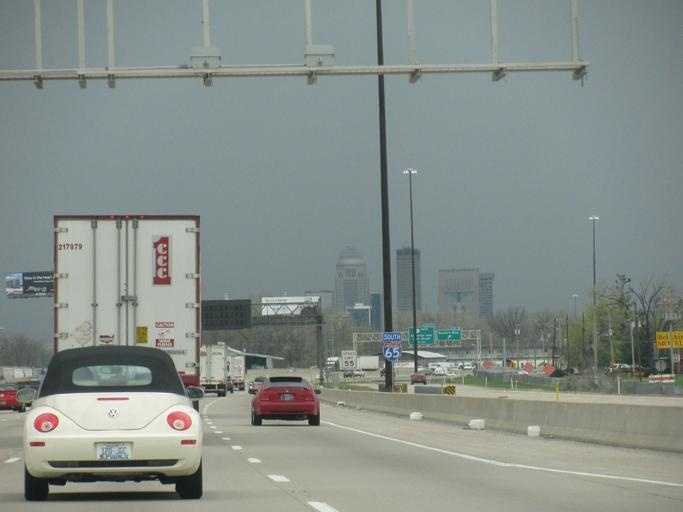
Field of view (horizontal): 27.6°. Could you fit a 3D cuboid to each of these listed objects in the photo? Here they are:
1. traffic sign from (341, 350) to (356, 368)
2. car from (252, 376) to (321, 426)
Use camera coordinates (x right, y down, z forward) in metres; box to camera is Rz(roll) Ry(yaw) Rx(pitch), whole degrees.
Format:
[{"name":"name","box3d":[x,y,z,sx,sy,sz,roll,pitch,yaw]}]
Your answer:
[{"name":"traffic sign","box3d":[0.444,6.778,85.821,0.689,1.832,1.567,0,-3,10]},{"name":"car","box3d":[-1.910,4.888,46.556,1.616,1.862,3.939,2,-8,-7]}]
